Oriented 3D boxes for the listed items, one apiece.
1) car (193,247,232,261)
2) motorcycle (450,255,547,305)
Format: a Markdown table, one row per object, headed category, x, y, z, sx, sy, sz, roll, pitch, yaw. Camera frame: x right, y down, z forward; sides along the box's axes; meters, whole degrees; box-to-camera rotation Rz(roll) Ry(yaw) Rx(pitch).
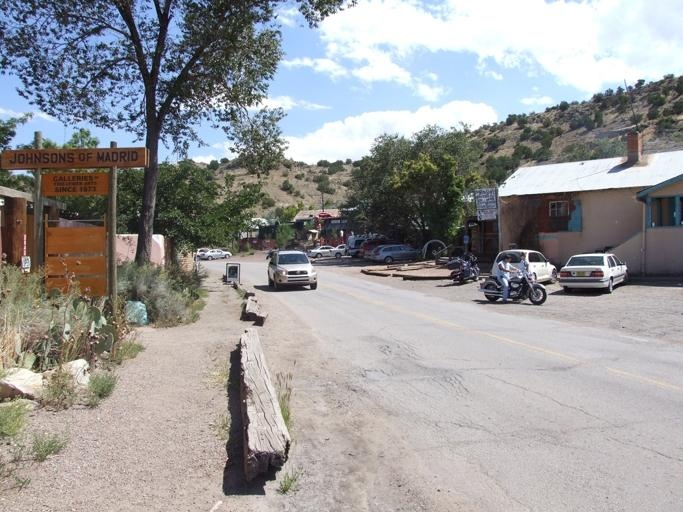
| category | x | y | z | sx | sy | sz | roll | pitch | yaw |
| --- | --- | --- | --- | --- | --- | --- | --- | --- | --- |
| car | -14.711 | -0.477 | 65.158 | 2.597 | 1.371 | 6.564 | 0 | 5 | 4 |
| motorcycle | 6.084 | 0.787 | 19.988 | 2.499 | 1.908 | 1.424 | 1 | 3 | 29 |
